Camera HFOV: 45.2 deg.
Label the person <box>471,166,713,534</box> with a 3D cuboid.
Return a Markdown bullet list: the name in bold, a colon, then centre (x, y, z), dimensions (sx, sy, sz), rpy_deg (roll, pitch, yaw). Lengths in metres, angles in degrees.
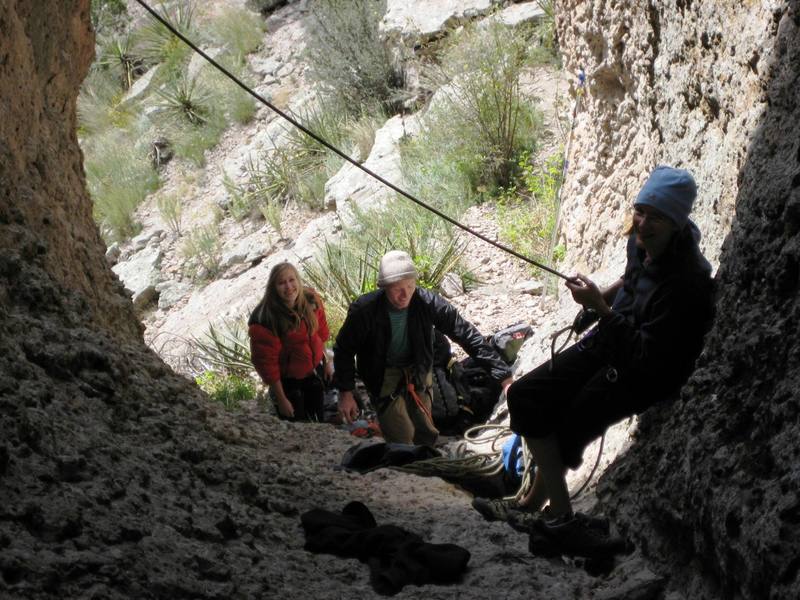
- **person**: centre (1.078, 0.222, 4.938), dimensions (0.914, 1.826, 0.357), rpy_deg (4, 12, 2)

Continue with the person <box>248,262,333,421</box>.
- **person**: centre (-0.749, 0.322, 6.763), dimensions (0.284, 1.204, 0.697), rpy_deg (13, 15, 38)

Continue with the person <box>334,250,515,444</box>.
- **person**: centre (0.199, 0.503, 6.623), dimensions (1.217, 1.783, 0.550), rpy_deg (2, 23, 6)

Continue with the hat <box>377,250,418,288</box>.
- **hat**: centre (-0.020, -0.214, 6.217), dimensions (0.181, 0.200, 0.233), rpy_deg (-7, -16, -41)

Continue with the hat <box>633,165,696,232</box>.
- **hat**: centre (1.339, -0.533, 4.877), dimensions (0.261, 0.230, 0.286), rpy_deg (32, 6, -13)
